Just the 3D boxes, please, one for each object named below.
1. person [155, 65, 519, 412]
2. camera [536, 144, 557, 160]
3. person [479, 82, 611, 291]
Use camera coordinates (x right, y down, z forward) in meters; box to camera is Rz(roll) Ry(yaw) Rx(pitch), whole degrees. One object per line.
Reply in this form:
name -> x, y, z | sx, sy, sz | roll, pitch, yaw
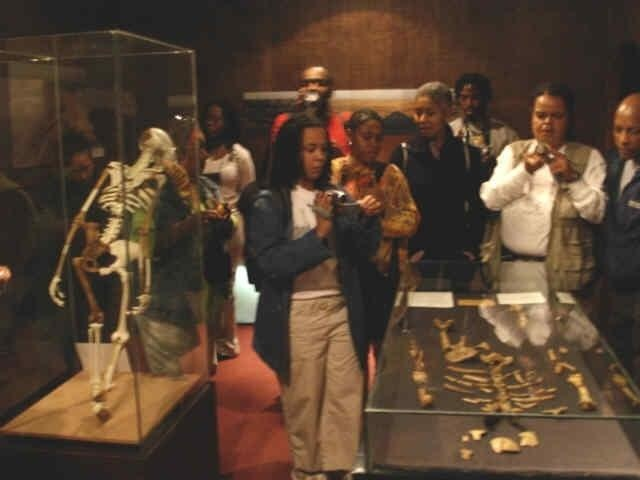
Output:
person -> 0.088, -0.064, 2.398 | 1.355, 1.137, 0.315 | 1, 16, -2
camera -> 0.881, -0.346, 2.342 | 0.067, 0.053, 0.016 | 43, 27, -7
person -> 0.884, -0.193, 2.370 | 0.464, 0.816, 0.129 | 7, 16, 18
